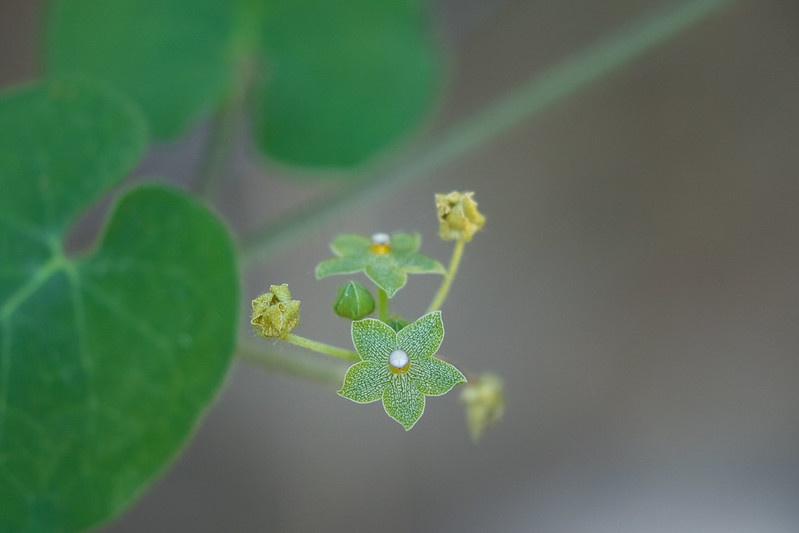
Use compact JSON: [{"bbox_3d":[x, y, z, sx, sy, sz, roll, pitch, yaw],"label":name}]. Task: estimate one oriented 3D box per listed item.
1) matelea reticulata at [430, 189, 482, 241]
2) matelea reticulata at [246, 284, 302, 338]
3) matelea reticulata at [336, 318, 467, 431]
[{"bbox_3d":[0.108,-0.082,1.581,0.088,0.068,0.121,9,-44,10],"label":"matelea reticulata"},{"bbox_3d":[-0.216,0.100,1.532,0.076,0.083,0.131,12,-44,6],"label":"matelea reticulata"},{"bbox_3d":[0.012,0.172,1.508,0.209,0.146,0.136,16,-42,3],"label":"matelea reticulata"}]
